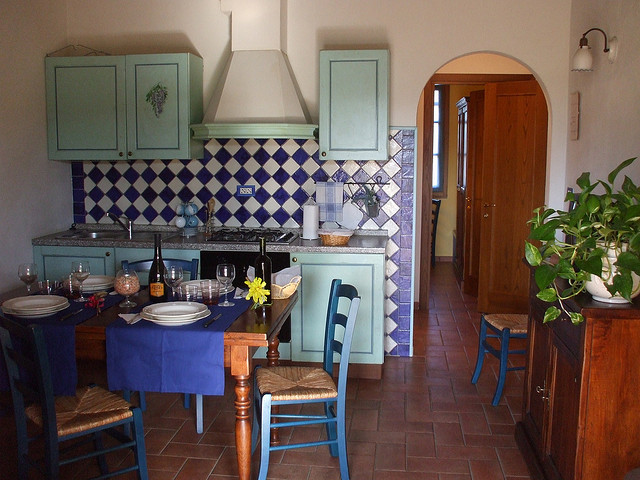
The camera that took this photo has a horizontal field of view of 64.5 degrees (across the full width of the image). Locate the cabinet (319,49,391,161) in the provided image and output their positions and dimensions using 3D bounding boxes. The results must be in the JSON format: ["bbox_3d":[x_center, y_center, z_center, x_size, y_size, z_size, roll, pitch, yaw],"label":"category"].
[{"bbox_3d":[0.351,-1.132,4.429,0.593,0.959,0.492,0,-1,17],"label":"cabinet"}]

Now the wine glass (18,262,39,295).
[{"bbox_3d":[-1.742,0.256,3.036,0.096,0.251,0.097,3,13,-16],"label":"wine glass"}]

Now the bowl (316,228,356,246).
[{"bbox_3d":[0.137,-0.032,4.259,0.322,0.118,0.385,-1,6,0],"label":"bowl"}]

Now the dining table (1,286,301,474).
[{"bbox_3d":[-0.797,0.774,2.769,1.158,0.809,0.487,0,6,11],"label":"dining table"}]

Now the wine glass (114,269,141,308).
[{"bbox_3d":[-1.124,0.294,2.963,0.140,0.228,0.145,6,11,17],"label":"wine glass"}]

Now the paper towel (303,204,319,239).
[{"bbox_3d":[-0.073,-0.154,4.339,0.133,0.291,0.109,-1,6,-2],"label":"paper towel"}]

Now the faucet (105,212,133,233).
[{"bbox_3d":[-1.861,-0.164,4.788,0.175,0.190,0.386,-7,8,-43],"label":"faucet"}]
